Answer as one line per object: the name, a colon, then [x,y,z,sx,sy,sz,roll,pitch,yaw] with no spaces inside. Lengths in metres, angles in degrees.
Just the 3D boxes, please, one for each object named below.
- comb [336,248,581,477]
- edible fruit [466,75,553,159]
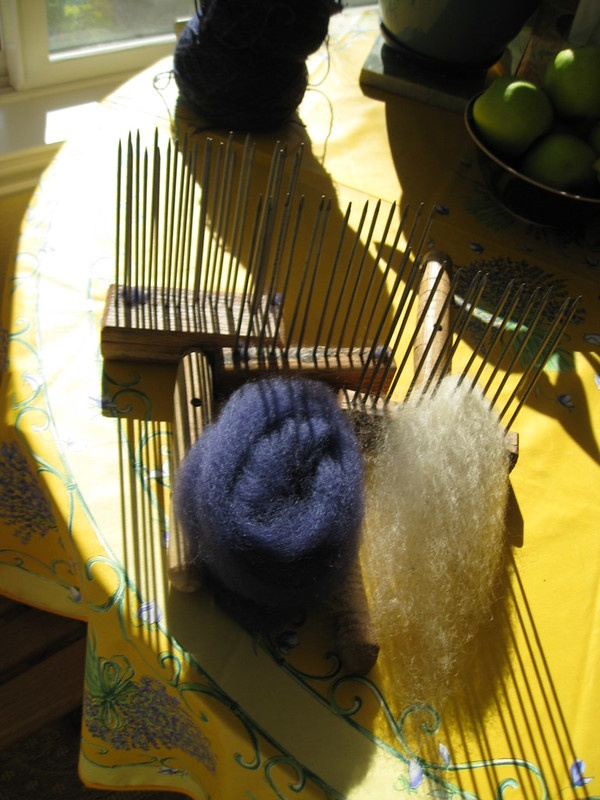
comb: [0.124,-0.039,0.641,0.203,0.200,0.055,-7,44,-25]
edible fruit: [0.216,-0.290,0.776,0.079,0.079,0.071,5,4,14]
